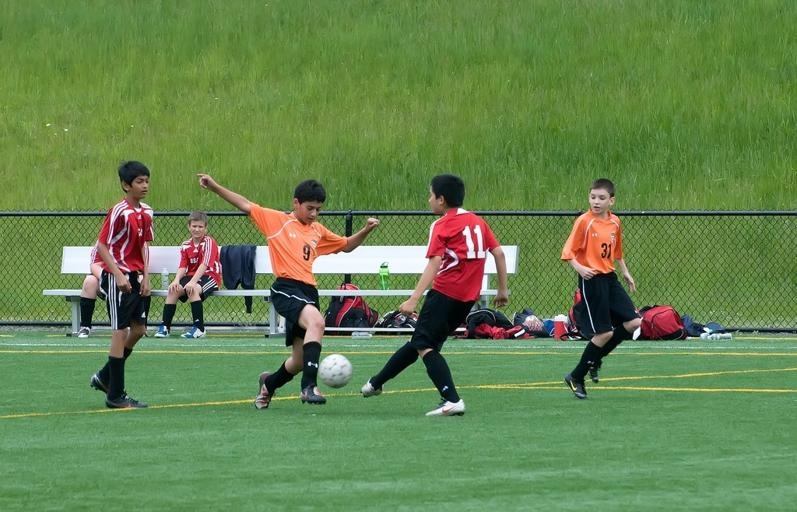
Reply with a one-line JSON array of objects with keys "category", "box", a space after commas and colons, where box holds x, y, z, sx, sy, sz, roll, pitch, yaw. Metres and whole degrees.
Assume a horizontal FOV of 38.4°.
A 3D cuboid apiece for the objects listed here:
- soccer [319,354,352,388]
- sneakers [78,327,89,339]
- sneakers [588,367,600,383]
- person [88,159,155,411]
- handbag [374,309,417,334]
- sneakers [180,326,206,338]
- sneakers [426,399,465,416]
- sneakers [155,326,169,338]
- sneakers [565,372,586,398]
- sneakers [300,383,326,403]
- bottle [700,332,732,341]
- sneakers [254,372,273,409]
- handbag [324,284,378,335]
[{"category": "soccer", "box": [-0.820, 1.497, 14.988, 0.416, 0.416, 0.422, 9, 44, -7]}, {"category": "sneakers", "box": [-5.772, 1.413, 21.025, 0.222, 0.205, 0.492, 2, 1, -17]}, {"category": "sneakers", "box": [2.733, 1.655, 15.891, 0.125, 0.155, 0.350, 1, -2, 21]}, {"category": "person", "box": [-3.549, 0.385, 14.792, 0.660, 3.168, 0.424, 2, 0, -14]}, {"category": "handbag", "box": [-0.068, 1.213, 20.869, 0.680, 0.375, 0.868, 2, -7, 6]}, {"category": "sneakers", "box": [-3.855, 1.419, 21.097, 0.560, 0.254, 0.204, 1, 0, 23]}, {"category": "sneakers", "box": [0.598, 1.926, 14.505, 0.511, 0.208, 0.189, -1, -6, 1]}, {"category": "sneakers", "box": [-4.336, 1.424, 21.069, 0.130, 0.148, 0.340, 0, -10, 6]}, {"category": "sneakers", "box": [2.375, 1.740, 15.365, 0.289, 0.319, 0.260, 2, 0, 7]}, {"category": "sneakers", "box": [-1.089, 1.783, 14.573, 0.182, 0.183, 0.345, 3, -7, -37]}, {"category": "bottle", "box": [5.750, 1.461, 20.741, 0.586, 0.125, 0.333, 2, 1, -6]}, {"category": "sneakers", "box": [-1.738, 1.778, 14.877, 0.192, 0.503, 0.179, 4, -4, 42]}, {"category": "handbag", "box": [-0.894, 1.096, 21.449, 0.944, 0.802, 0.670, -1, 2, -8]}]
